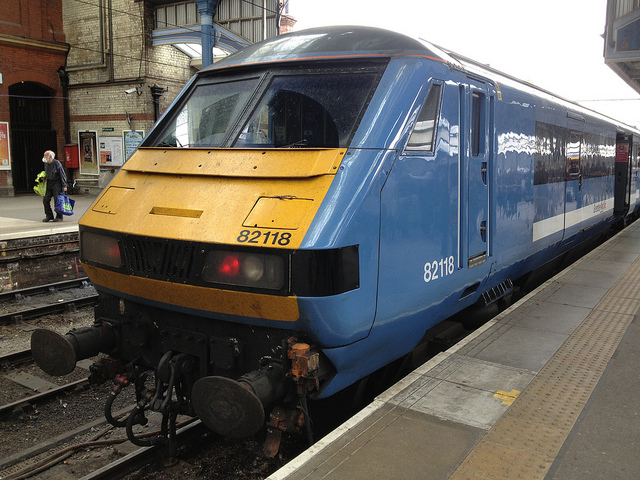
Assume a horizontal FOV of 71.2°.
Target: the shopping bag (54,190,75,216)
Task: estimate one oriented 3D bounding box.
[{"bbox_3d":[-6.762,-0.975,11.858,0.373,0.581,0.489,-4,12,-25],"label":"shopping bag"}]
